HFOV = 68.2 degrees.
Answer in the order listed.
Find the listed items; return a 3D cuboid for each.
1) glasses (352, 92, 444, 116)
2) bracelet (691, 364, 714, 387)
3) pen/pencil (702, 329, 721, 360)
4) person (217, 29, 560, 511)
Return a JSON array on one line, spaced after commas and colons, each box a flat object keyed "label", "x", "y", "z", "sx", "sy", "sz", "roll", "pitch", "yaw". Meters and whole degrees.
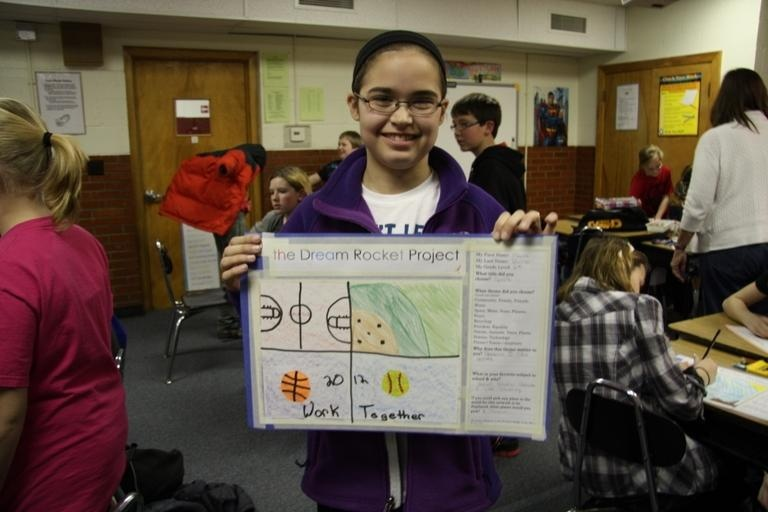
[{"label": "glasses", "x": 0.054, "y": -0.458, "z": 1.753, "sx": 0.253, "sy": 0.066, "sz": 0.057, "roll": 0, "pitch": 12, "yaw": 6}, {"label": "bracelet", "x": 1.477, "y": 0.557, "z": 2.631, "sx": 0.085, "sy": 0.081, "sz": 0.107, "roll": -8, "pitch": 7, "yaw": -15}, {"label": "pen/pencil", "x": 1.715, "y": 0.470, "z": 2.970, "sx": 0.016, "sy": 0.163, "sz": 0.017, "roll": 29, "pitch": -13, "yaw": -22}, {"label": "person", "x": 0.052, "y": 0.087, "z": 1.819, "sx": 0.936, "sy": 1.544, "sz": 0.416, "roll": 2, "pitch": 12, "yaw": 16}]
